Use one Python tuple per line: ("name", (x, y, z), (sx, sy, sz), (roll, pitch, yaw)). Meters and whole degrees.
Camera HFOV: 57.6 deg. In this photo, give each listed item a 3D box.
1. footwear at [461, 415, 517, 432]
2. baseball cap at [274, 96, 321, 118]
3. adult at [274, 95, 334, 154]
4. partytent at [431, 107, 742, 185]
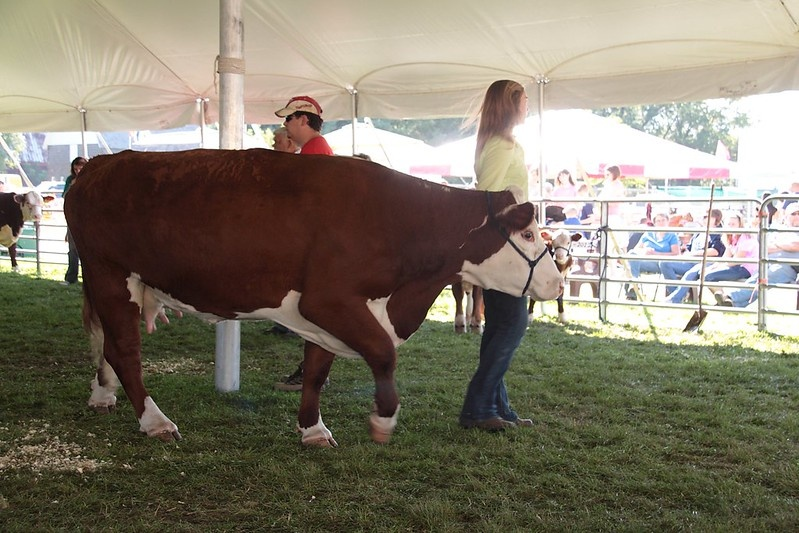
("footwear", (0.749, 1.322, 6.161), (0.466, 0.185, 0.152), (-2, -1, 0))
("baseball cap", (-0.933, -1.451, 6.657), (0.347, 0.169, 0.216), (1, 1, -9))
("adult", (-0.883, -1.282, 6.722), (0.535, 0.617, 0.446), (0, 11, -3))
("partytent", (4.021, -2.546, 15.982), (3.973, 0.783, 4.096), (1, 3, 33))
